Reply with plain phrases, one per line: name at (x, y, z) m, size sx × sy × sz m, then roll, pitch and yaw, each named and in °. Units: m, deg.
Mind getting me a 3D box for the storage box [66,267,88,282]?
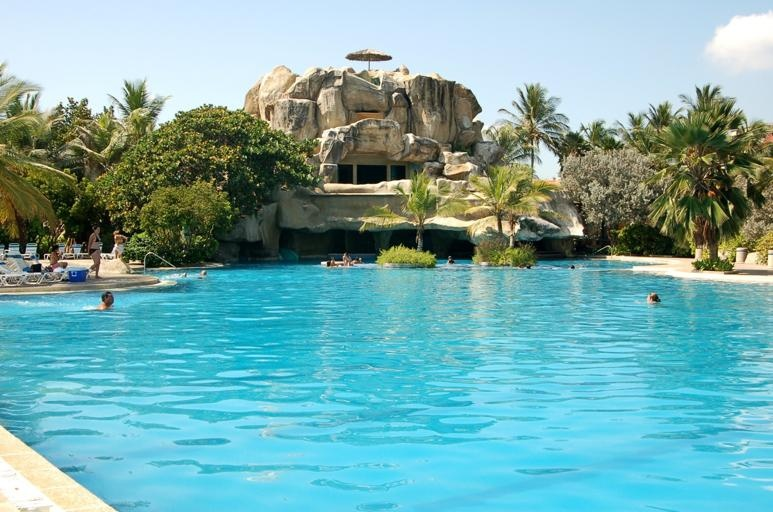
storage box at (-9.582, 0.575, 20.375) m, size 0.534 × 0.359 × 0.388 m, roll 1°, pitch 1°, yaw 18°
